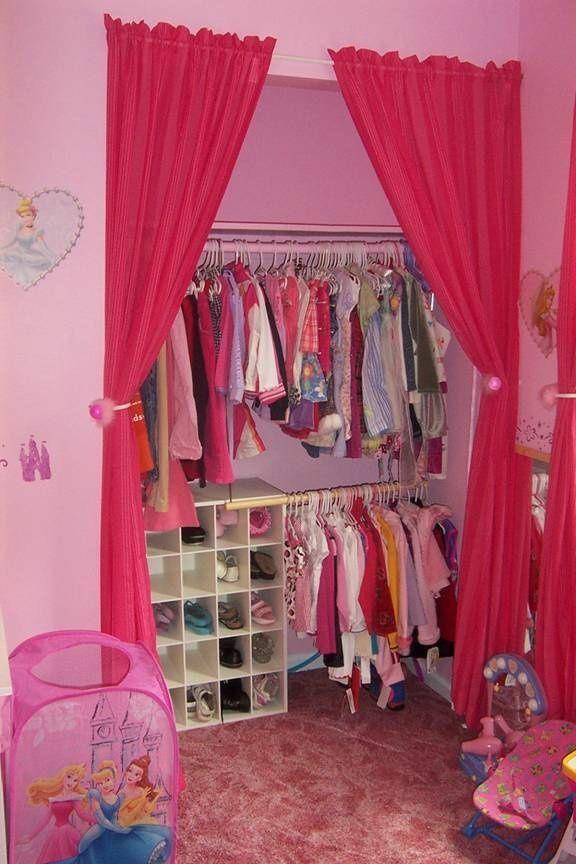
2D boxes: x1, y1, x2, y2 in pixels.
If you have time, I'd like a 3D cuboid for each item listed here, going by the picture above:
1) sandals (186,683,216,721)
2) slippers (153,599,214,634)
[{"bbox_3d":[-0.381,1.191,2.928,0.127,0.124,0.143,-3,5,-14],"label":"sandals"},{"bbox_3d":[-0.470,0.815,2.953,0.249,0.129,0.244,-3,5,-16],"label":"slippers"}]
